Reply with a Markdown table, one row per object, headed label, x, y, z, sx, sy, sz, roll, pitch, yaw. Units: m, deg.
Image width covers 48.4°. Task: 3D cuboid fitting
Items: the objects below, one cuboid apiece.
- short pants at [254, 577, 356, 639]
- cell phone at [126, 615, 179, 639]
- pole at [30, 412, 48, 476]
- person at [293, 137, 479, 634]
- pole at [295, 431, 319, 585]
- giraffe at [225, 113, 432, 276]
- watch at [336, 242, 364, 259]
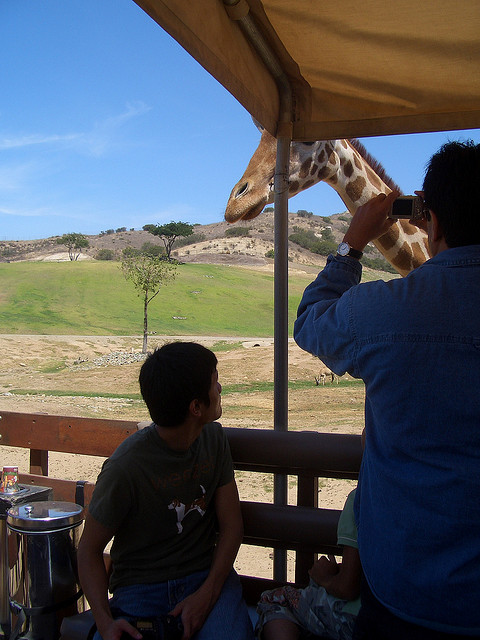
| label | x | y | z | sx | sy | sz | roll | pitch | yaw |
| --- | --- | --- | --- | --- | --- | --- | --- | --- | --- |
| short pants | 0.184 | 0.831 | 1.535 | 0.307 | 0.189 | 0.130 | -2 | -32 | 27 |
| cell phone | -0.235 | 0.833 | 1.434 | 0.137 | 0.055 | 0.062 | 0 | 2 | -1 |
| pole | -1.400 | 0.887 | 3.708 | 0.101 | 0.485 | 0.373 | -1 | 2 | -21 |
| person | 0.325 | 0.140 | 1.095 | 0.287 | 1.021 | 0.431 | -1 | 2 | -22 |
| pole | 0.253 | 0.738 | 2.044 | 0.089 | 0.591 | 0.280 | 0 | 2 | 6 |
| giraffe | 0.951 | -1.626 | 6.433 | 0.739 | 2.077 | 3.353 | 27 | 36 | 31 |
| watch | 0.251 | -0.160 | 1.270 | 0.054 | 0.035 | 0.057 | 22 | -1 | -23 |
